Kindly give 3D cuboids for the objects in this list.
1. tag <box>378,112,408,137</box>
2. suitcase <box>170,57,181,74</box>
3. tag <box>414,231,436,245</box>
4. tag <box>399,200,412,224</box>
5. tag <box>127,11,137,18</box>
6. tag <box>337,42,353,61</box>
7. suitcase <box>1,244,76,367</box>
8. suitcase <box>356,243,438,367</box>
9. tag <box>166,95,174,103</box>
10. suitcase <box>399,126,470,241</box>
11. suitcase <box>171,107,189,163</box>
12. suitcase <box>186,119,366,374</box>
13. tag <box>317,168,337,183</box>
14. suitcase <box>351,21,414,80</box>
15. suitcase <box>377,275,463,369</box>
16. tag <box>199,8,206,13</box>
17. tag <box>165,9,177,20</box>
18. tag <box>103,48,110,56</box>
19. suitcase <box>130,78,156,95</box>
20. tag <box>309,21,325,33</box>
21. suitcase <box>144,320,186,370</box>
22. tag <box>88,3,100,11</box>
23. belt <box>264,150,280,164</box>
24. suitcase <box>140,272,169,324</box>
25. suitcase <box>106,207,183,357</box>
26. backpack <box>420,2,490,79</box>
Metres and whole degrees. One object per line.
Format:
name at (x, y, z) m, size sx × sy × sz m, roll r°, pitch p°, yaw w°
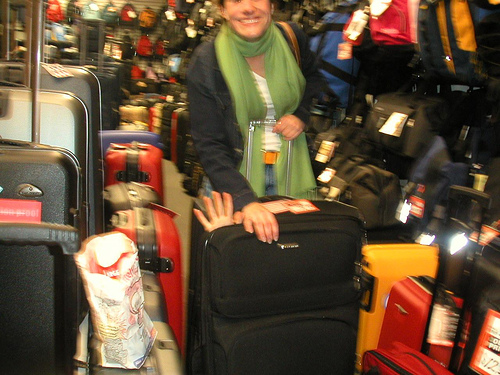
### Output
tag at (0.782, -0.341, 2.277) m, size 0.031 × 0.128 × 0.127 m, roll 20°, pitch 3°, yaw -43°
suitcase at (-1.028, -1.696, 5.858) m, size 0.123 × 0.270 × 0.419 m, roll 0°, pitch 9°, yaw -11°
tag at (0.820, 0.237, 1.970) m, size 0.020 × 0.041 × 0.058 m, roll 25°, pitch -28°, yaw -15°
tag at (0.792, 0.127, 2.163) m, size 0.021 × 0.086 × 0.082 m, roll 9°, pitch -15°, yaw -1°
tag at (-2.120, -3.092, 7.565) m, size 0.166 × 0.053 × 0.158 m, roll -4°, pitch 48°, yaw -12°
tag at (0.591, -0.851, 2.635) m, size 0.092 × 0.106 × 0.096 m, roll 1°, pitch 5°, yaw -3°
suitcase at (-0.535, 0.285, 1.050) m, size 0.235 × 0.327 × 0.095 m, roll 5°, pitch 9°, yaw 21°
suitcase at (0.618, 0.503, 1.710) m, size 0.297 × 0.516 × 0.178 m, roll -5°, pitch -3°, yaw 18°
tag at (-1.038, -1.145, 5.494) m, size 0.119 × 0.096 × 0.126 m, roll 2°, pitch 3°, yaw -6°
suitcase at (0.906, 0.007, 2.055) m, size 0.217 × 0.504 × 0.215 m, roll 2°, pitch 8°, yaw 1°
suitcase at (-0.707, -0.547, 4.312) m, size 0.181 × 0.568 × 0.337 m, roll 3°, pitch 34°, yaw -1°
suitcase at (0.097, 0.378, 1.575) m, size 0.642 × 0.634 × 0.293 m, roll -1°, pitch 9°, yaw -20°
tag at (0.443, -0.067, 2.414) m, size 0.078 × 0.082 × 0.141 m, roll 8°, pitch 16°, yaw 20°
suitcase at (0.805, -0.818, 2.580) m, size 0.362 × 0.264 × 0.736 m, roll 5°, pitch 9°, yaw 19°
suitcase at (0.632, 0.495, 1.542) m, size 0.170 × 0.342 × 0.206 m, roll -2°, pitch 23°, yaw -29°
tag at (-0.557, -2.098, 5.004) m, size 0.086 × 0.092 × 0.024 m, roll -2°, pitch -5°, yaw -3°
tag at (-1.193, -2.562, 6.329) m, size 0.133 × 0.154 × 0.034 m, roll -4°, pitch -11°, yaw -13°
tag at (-2.392, -2.271, 7.099) m, size 0.085 × 0.147 × 0.231 m, roll 0°, pitch 9°, yaw -14°
suitcase at (-1.680, -1.582, 6.618) m, size 0.410 × 0.252 × 0.313 m, roll -1°, pitch -4°, yaw -10°
tag at (0.459, -1.094, 2.884) m, size 0.024 × 0.081 × 0.089 m, roll 31°, pitch 9°, yaw -32°
suitcase at (-0.269, 0.499, 1.340) m, size 0.108 × 0.056 × 0.262 m, roll 1°, pitch 9°, yaw -10°
tag at (-2.513, -2.894, 6.787) m, size 0.037 × 0.168 × 0.162 m, roll -15°, pitch -1°, yaw 38°
belt at (0.094, -0.134, 1.912) m, size 0.059 × 0.056 × 0.097 m, roll -1°, pitch 5°, yaw 2°
suitcase at (-0.358, 0.410, 1.584) m, size 0.077 × 0.083 × 0.317 m, roll 0°, pitch 9°, yaw -17°
suitcase at (-0.348, 0.332, 1.433) m, size 0.160 × 0.506 × 0.310 m, roll -7°, pitch 32°, yaw -11°
backpack at (0.894, -0.652, 1.862) m, size 0.296 × 0.331 × 0.130 m, roll 7°, pitch 10°, yaw 32°
